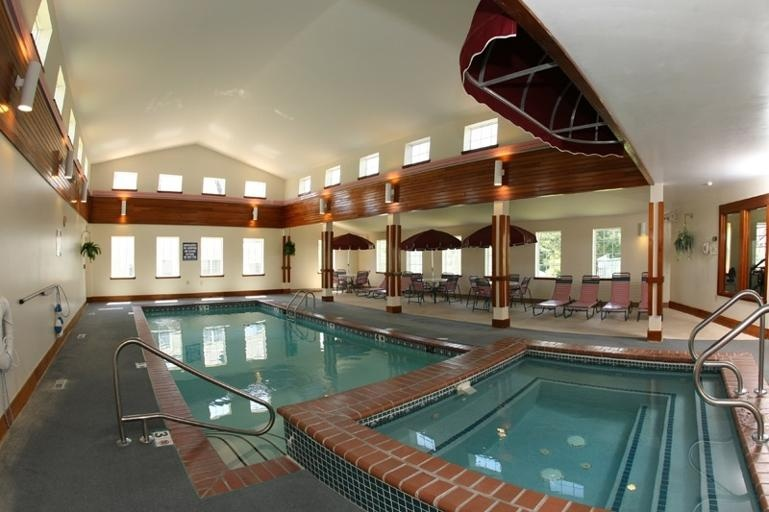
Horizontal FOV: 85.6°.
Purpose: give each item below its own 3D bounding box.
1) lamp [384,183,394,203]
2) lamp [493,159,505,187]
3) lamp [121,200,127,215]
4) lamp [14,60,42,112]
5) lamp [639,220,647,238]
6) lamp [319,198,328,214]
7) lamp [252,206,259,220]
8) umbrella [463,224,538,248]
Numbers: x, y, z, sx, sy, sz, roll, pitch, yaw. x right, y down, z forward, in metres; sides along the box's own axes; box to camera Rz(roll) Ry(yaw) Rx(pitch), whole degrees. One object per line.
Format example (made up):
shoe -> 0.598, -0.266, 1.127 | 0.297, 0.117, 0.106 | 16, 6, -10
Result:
lamp -> 0.163, -2.125, 13.706 | 0.288, 0.689, 0.531 | 0, -2, -4
lamp -> 2.973, -2.230, 10.955 | 0.284, 0.691, 0.378 | -1, -2, 13
lamp -> -10.664, -2.028, 17.216 | 0.169, 0.612, 0.348 | 1, -3, -22
lamp -> -5.186, -2.595, 6.115 | 0.275, 0.958, 0.598 | 2, -3, -40
lamp -> 8.289, -0.926, 13.541 | 0.250, 0.410, 0.132 | -2, -3, 39
lamp -> -2.526, -2.068, 17.005 | 0.287, 0.598, 0.611 | 1, -3, -28
lamp -> -6.040, -2.085, 19.660 | 0.258, 0.685, 0.321 | 1, -3, -26
umbrella -> 3.767, -0.672, 13.302 | 1.830, 0.747, 2.730 | 0, -3, -10
